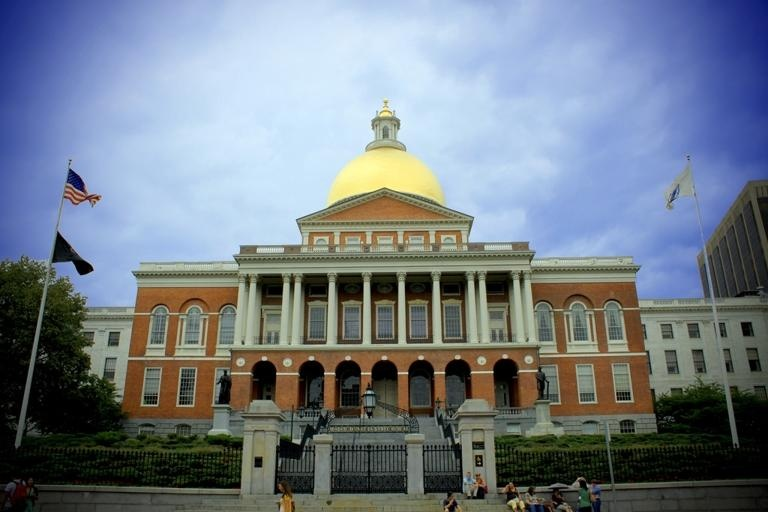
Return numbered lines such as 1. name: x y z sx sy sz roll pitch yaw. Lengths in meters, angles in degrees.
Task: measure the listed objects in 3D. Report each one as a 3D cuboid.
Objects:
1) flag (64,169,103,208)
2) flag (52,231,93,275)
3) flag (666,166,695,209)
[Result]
1. flag: -18.835 -4.232 37.966 1.659 2.444 1.078 10 -23 -29
2. flag: -17.001 -0.084 32.802 2.312 3.072 0.668 -7 -3 -8
3. flag: 19.846 -4.715 41.276 2.205 0.281 2.869 -18 -51 11
